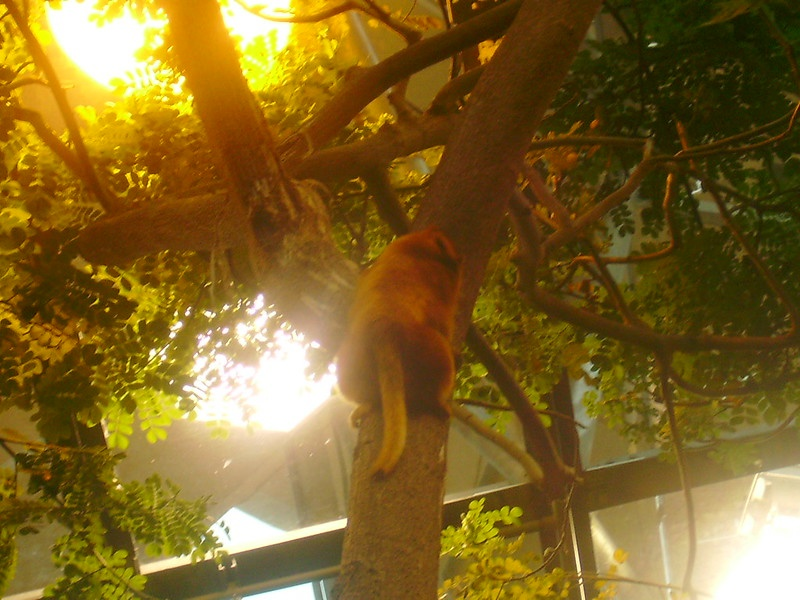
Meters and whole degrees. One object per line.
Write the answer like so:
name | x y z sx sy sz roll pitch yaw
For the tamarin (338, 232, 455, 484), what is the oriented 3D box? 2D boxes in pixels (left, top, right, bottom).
tamarin | -0.010 0.122 1.777 0.309 0.565 0.342 5 -48 5
